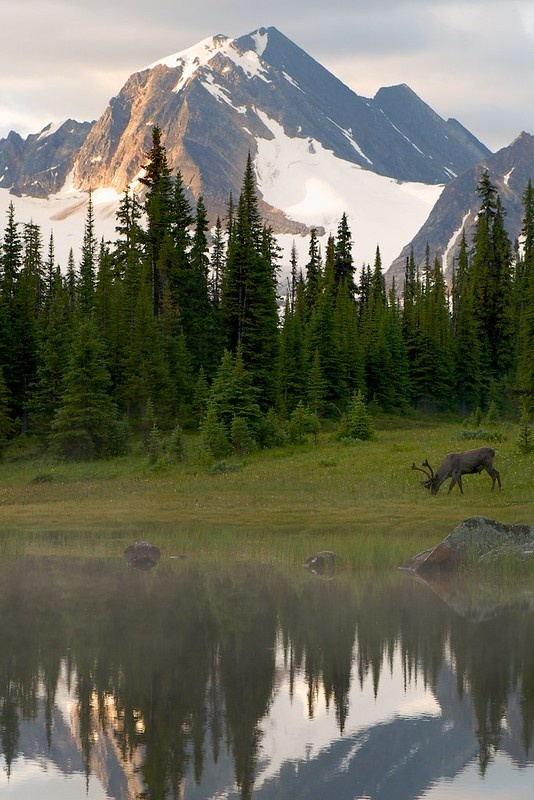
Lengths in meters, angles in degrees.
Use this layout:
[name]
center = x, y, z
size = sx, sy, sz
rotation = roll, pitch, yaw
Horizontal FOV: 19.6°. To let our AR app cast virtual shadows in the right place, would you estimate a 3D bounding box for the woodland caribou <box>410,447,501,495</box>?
[woodland caribou]
center = 5.323, 1.910, 42.297
size = 2.108, 1.238, 3.635
rotation = 0, 1, 5
